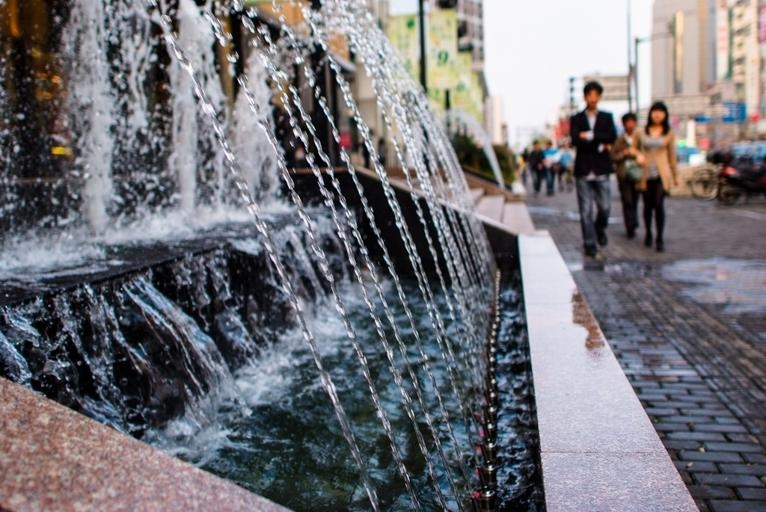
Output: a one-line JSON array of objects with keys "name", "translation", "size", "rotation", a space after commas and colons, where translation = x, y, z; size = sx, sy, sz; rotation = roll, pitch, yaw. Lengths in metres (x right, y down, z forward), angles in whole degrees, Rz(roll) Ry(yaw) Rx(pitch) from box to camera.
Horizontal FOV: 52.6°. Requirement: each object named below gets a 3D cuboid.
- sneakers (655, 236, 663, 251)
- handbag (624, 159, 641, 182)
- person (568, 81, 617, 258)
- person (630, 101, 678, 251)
[{"name": "sneakers", "translation": [3.581, -0.168, 10.116], "size": [0.093, 0.167, 0.205], "rotation": [1, 14, 19]}, {"name": "handbag", "translation": [3.327, -1.160, 10.407], "size": [0.141, 0.309, 0.203], "rotation": [-12, -16, -8]}, {"name": "person", "translation": [2.712, -1.001, 10.135], "size": [0.564, 1.986, 0.877], "rotation": [7, 16, 41]}, {"name": "person", "translation": [3.574, -1.052, 10.269], "size": [0.549, 1.940, 0.842], "rotation": [1, 13, 19]}]
